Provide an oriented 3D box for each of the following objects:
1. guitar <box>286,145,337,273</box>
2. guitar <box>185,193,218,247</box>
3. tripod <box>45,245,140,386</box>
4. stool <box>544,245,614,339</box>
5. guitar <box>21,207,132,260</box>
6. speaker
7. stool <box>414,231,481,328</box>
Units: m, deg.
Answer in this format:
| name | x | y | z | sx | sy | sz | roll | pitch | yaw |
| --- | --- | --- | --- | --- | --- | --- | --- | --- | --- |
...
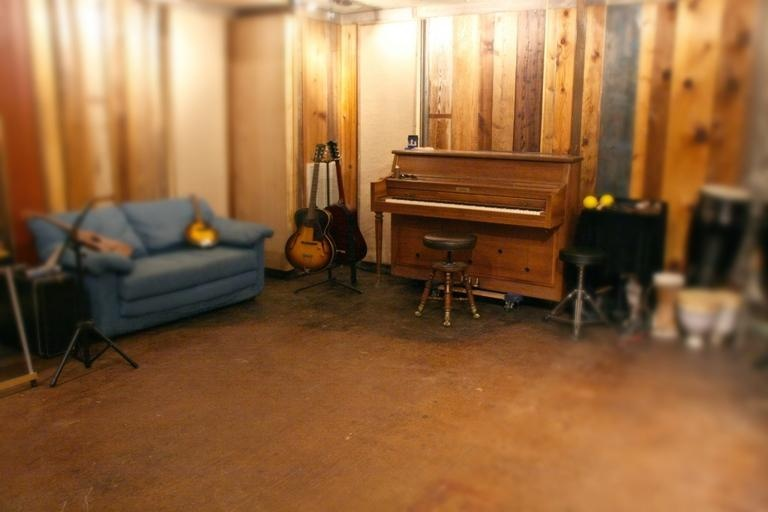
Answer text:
| name | x | y | z | sx | sy | sz | roll | pitch | yaw |
| --- | --- | --- | --- | --- | --- | --- | --- | --- | --- |
| guitar | -0.577 | -0.368 | 4.531 | 0.505 | 1.112 | 0.284 | 15 | 25 | 36 |
| guitar | -1.490 | -0.229 | 4.409 | 0.301 | 0.528 | 0.095 | -26 | 62 | -40 |
| tripod | -1.825 | 0.266 | 3.362 | 0.469 | 0.845 | 0.679 | -10 | 21 | -26 |
| stool | 1.386 | 0.254 | 3.972 | 0.543 | 0.536 | 0.520 | 8 | 7 | 17 |
| guitar | -1.928 | -0.127 | 3.436 | 0.606 | 0.061 | 0.191 | 21 | 10 | -7 |
| speaker | 1.662 | 0.027 | 4.057 | 0.710 | 0.395 | 0.613 | 8 | 60 | 9 |
| stool | 0.492 | 0.169 | 4.228 | 0.484 | 0.588 | 0.486 | -1 | 4 | -24 |
